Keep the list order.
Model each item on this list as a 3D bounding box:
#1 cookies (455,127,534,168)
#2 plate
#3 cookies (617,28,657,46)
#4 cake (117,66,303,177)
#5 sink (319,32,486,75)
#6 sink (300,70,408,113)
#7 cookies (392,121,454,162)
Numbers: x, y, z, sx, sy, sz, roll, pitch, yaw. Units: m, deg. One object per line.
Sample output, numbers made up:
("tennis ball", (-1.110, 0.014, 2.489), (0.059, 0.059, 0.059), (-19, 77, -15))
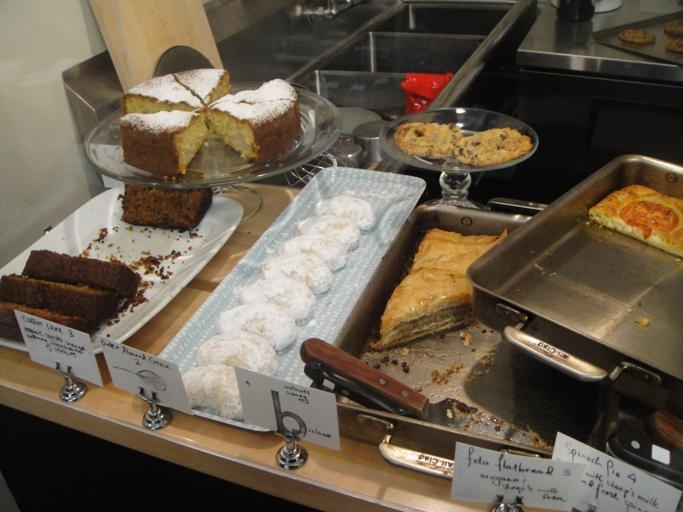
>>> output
("cookies", (0.442, -0.313, 1.627), (0.169, 0.224, 0.036), (1, 78, 3))
("plate", (-0.535, -0.029, 1.546), (0.420, 0.074, 0.553), (13, 36, 20))
("cookies", (1.228, -0.907, 2.284), (0.120, 0.036, 0.088), (20, 48, 36))
("cake", (-0.412, -0.429, 1.770), (0.566, 0.229, 0.540), (-16, 47, -8))
("sink", (0.322, -1.036, 2.866), (0.812, 0.161, 0.346), (-7, 46, 1))
("sink", (0.088, -0.801, 2.629), (0.425, 0.114, 0.411), (-2, 46, 5))
("cookies", (0.259, -0.351, 1.666), (0.199, 0.056, 0.241), (0, 47, 7))
